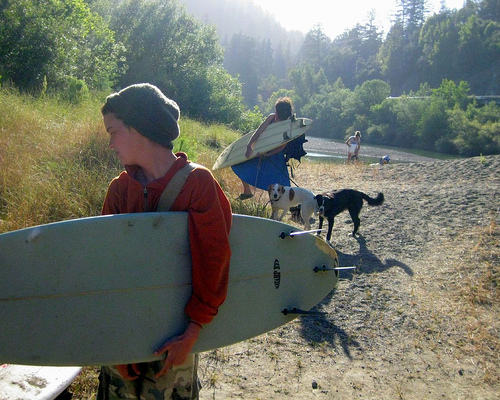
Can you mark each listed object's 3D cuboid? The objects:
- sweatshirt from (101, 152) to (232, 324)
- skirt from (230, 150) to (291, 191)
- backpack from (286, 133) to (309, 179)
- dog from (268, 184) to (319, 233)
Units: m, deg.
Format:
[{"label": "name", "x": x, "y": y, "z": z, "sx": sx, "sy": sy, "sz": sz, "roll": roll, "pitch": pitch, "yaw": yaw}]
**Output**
[{"label": "sweatshirt", "x": -0.729, "y": 0.363, "z": 4.694, "sx": 1.100, "sy": 1.604, "sz": 0.583, "roll": 0, "pitch": 1, "yaw": 6}, {"label": "skirt", "x": 0.209, "y": -0.462, "z": 9.405, "sx": 0.640, "sy": 0.794, "sz": 0.691, "roll": 6, "pitch": 10, "yaw": 12}, {"label": "backpack", "x": 0.931, "y": -0.875, "z": 9.832, "sx": 0.249, "sy": 0.727, "sz": 0.297, "roll": 15, "pitch": -23, "yaw": -20}, {"label": "dog", "x": 0.681, "y": 0.090, "z": 9.162, "sx": 0.931, "sy": 0.720, "sz": 0.334, "roll": 2, "pitch": 16, "yaw": -28}]
